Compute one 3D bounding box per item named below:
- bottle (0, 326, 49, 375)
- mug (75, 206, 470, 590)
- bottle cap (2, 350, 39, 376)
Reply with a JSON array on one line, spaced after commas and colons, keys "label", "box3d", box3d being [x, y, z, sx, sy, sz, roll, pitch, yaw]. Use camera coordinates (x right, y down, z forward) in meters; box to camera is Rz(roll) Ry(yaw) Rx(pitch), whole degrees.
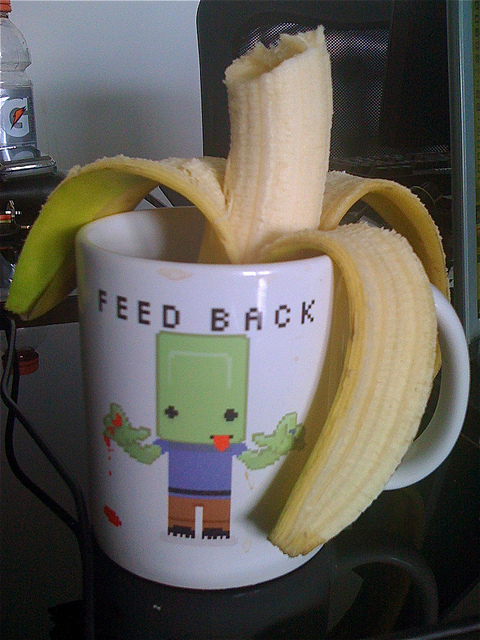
[{"label": "bottle", "box3d": [-0.160, 0.023, 0.479, 0.046, 0.032, 0.028, -8, 21, -26]}, {"label": "mug", "box3d": [0.019, 0.039, 0.303, 0.181, 0.144, 0.118, 4, 10, 14]}, {"label": "bottle cap", "box3d": [-0.156, 0.030, 0.448, 0.018, 0.007, 0.018, 6, 17, 5]}]
